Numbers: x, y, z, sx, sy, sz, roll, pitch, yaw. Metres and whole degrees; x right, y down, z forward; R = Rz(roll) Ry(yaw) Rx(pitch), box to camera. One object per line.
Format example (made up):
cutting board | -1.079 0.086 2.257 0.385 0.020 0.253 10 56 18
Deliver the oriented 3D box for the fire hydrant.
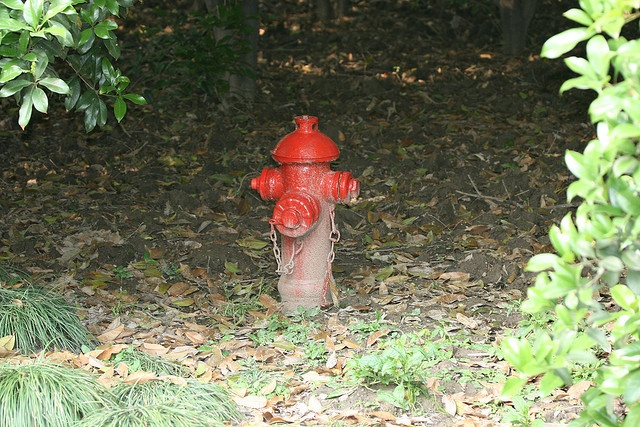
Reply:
fire hydrant | -0.097 0.014 4.374 0.704 1.390 0.423 -2 7 -11
